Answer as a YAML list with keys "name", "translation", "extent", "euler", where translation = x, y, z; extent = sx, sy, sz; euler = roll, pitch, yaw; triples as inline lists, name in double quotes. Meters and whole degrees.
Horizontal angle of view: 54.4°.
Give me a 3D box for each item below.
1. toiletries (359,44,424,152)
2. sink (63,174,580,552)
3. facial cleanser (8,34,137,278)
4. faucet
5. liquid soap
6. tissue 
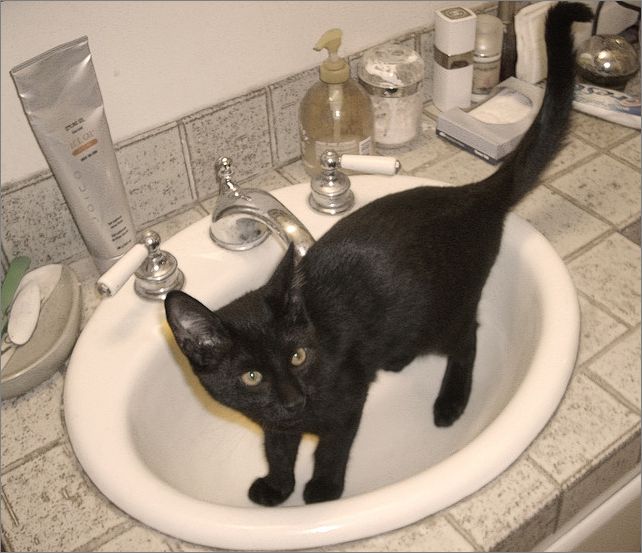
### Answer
- name: "toiletries"
  translation: [0.111, -0.290, 1.000]
  extent: [0.127, 0.163, 0.102]
  euler: [-28, 47, -17]
- name: "sink"
  translation: [0.001, 0.109, 0.716]
  extent: [0.547, 0.171, 0.431]
  euler: [-8, 44, -2]
- name: "facial cleanser"
  translation: [-0.285, -0.127, 0.763]
  extent: [0.069, 0.318, 0.098]
  euler: [24, 50, 18]
- name: "faucet"
  translation: [-0.068, -0.070, 0.751]
  extent: [0.069, 0.105, 0.189]
  euler: [-31, 37, -26]
- name: "liquid soap"
  translation: [0.009, -0.256, 0.964]
  extent: [0.133, 0.219, 0.123]
  euler: [-14, 42, -21]
- name: "tissue "
  translation: [0.290, -0.259, 1.025]
  extent: [0.178, 0.040, 0.128]
  euler: [-35, 50, -27]
